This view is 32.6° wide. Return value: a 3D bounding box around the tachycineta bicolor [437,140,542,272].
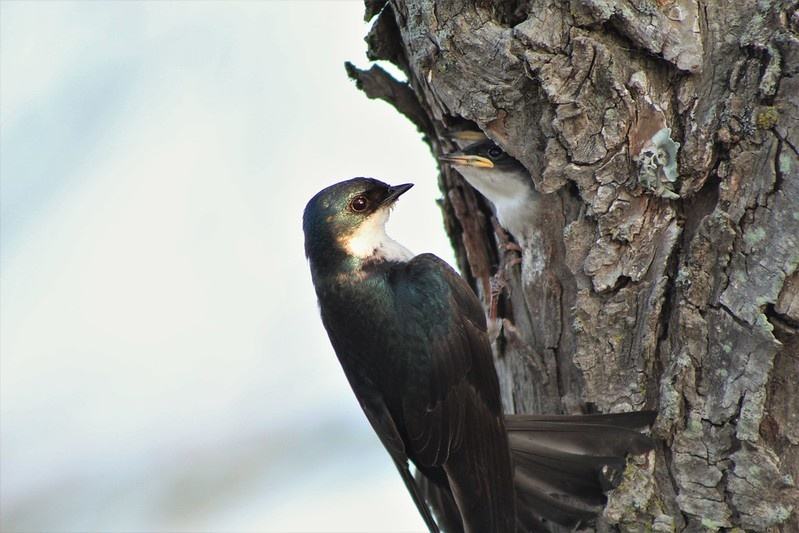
[{"bbox_3d":[0.412,-0.373,8.393,0.792,0.835,0.386,4,-27,-6],"label":"tachycineta bicolor"}]
